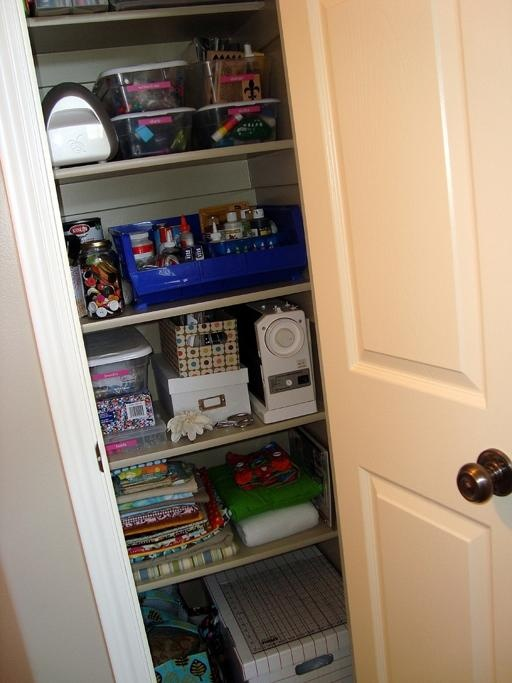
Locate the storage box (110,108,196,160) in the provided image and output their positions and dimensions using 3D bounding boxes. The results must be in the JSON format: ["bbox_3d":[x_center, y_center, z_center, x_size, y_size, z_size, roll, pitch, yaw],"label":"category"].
[{"bbox_3d":[-0.246,-0.497,1.346,0.129,0.082,0.173,-13,19,-8],"label":"storage box"}]

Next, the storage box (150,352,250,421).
[{"bbox_3d":[-0.135,0.129,1.642,0.157,0.097,0.203,-7,26,-3],"label":"storage box"}]

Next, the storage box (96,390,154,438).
[{"bbox_3d":[-0.338,0.193,1.440,0.127,0.116,0.084,-10,14,-20],"label":"storage box"}]

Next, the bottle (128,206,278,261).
[{"bbox_3d":[-0.142,-0.311,1.576,0.423,0.121,0.361,-14,20,-7],"label":"bottle"}]

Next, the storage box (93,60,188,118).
[{"bbox_3d":[-0.286,-0.620,1.376,0.236,0.093,0.174,-15,12,-15],"label":"storage box"}]

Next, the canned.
[{"bbox_3d":[-0.410,-0.168,1.424,0.111,0.191,0.108,-18,23,-39],"label":"canned"}]

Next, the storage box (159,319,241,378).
[{"bbox_3d":[-0.124,0.041,1.633,0.174,0.145,0.238,-7,-10,4],"label":"storage box"}]

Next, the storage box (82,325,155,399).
[{"bbox_3d":[-0.392,0.050,1.550,0.154,0.095,0.214,-5,19,-16],"label":"storage box"}]
